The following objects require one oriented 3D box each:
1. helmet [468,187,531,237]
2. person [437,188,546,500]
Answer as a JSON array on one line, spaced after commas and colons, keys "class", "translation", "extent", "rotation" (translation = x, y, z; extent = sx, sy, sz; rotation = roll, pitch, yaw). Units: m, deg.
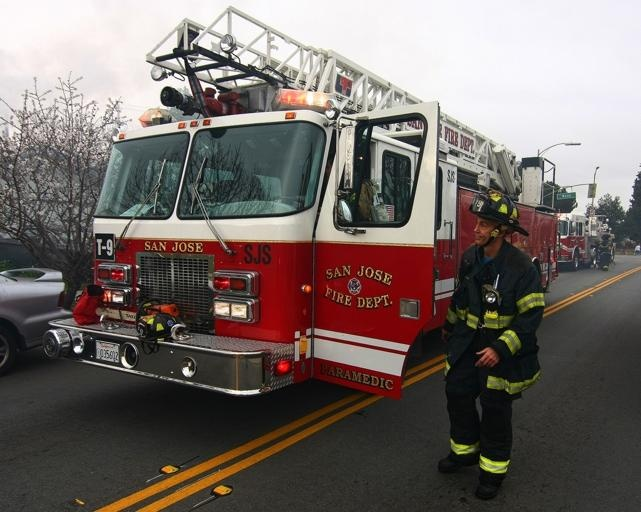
[{"class": "helmet", "translation": [1.550, -0.409, 4.175], "extent": [0.489, 0.211, 0.348], "rotation": [29, 1, -9]}, {"class": "person", "translation": [1.389, 0.729, 4.141], "extent": [0.521, 2.450, 0.691], "rotation": [-2, 7, -27]}]
